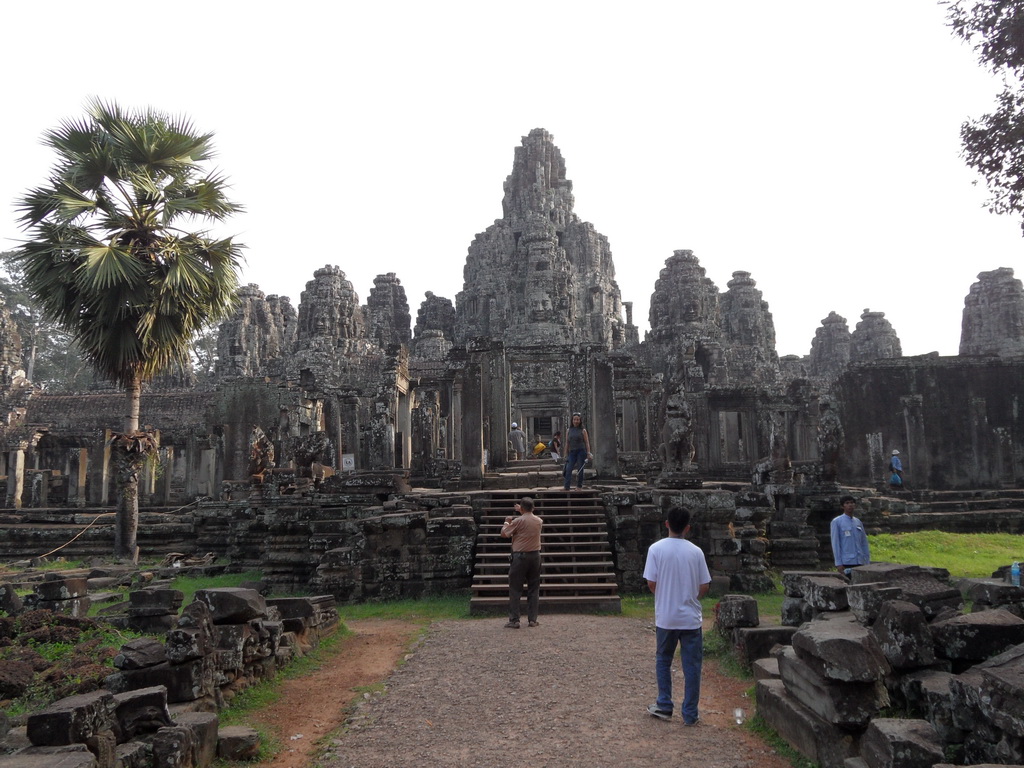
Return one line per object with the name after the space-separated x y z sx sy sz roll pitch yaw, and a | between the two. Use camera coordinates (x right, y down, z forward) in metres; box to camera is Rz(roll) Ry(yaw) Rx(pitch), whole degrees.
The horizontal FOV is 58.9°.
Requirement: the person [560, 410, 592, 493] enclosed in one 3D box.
1.312 1.365 18.397 0.564 1.531 0.359 4 7 22 | person

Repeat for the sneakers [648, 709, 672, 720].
1.629 3.619 10.006 0.226 0.120 0.094 8 -6 31 | sneakers

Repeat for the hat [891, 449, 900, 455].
12.101 2.144 28.589 0.127 0.173 0.400 -4 -10 13 | hat

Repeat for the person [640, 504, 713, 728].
1.823 2.535 10.054 0.668 2.297 0.524 0 1 16 | person

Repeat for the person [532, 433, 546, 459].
0.914 2.266 31.058 0.386 0.574 1.048 0 -14 2 | person
